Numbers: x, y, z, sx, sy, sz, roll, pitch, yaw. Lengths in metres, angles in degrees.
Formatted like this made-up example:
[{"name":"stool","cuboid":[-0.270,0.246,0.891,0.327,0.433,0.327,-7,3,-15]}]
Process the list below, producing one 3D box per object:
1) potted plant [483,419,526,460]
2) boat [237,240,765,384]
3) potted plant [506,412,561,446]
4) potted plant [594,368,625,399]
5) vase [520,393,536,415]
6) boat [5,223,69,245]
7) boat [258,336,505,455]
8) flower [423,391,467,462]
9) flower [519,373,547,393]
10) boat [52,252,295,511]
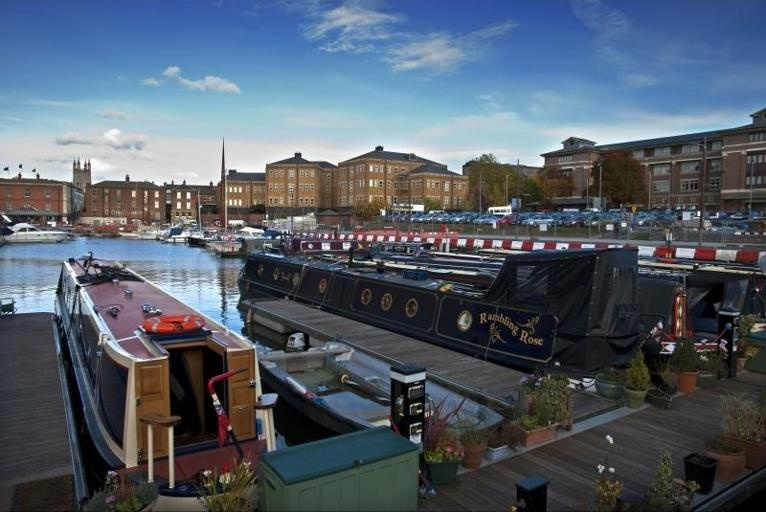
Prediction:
[{"name":"potted plant","cuboid":[2.340,3.575,11.493,0.499,0.252,0.795,12,18,43]},{"name":"boat","cuboid":[1.272,1.333,19.743,4.224,2.935,14.354,-4,8,-39]},{"name":"potted plant","cuboid":[2.982,3.464,11.758,0.772,0.263,0.538,-1,1,-33]},{"name":"potted plant","cuboid":[5.206,2.928,13.619,0.637,0.668,0.624,1,-5,-6]},{"name":"vase","cuboid":[3.007,3.050,12.143,0.275,0.405,0.160,1,5,14]},{"name":"boat","cuboid":[-44.310,-2.926,78.035,9.206,2.572,2.583,-4,13,-25]},{"name":"boat","cuboid":[-0.673,3.087,13.752,2.168,0.824,6.019,1,3,-24]},{"name":"flower","cuboid":[1.196,3.322,11.311,0.894,1.277,0.779,1,1,-7]},{"name":"flower","cuboid":[3.174,2.679,12.476,0.399,0.239,0.408,-3,2,-1]},{"name":"boat","cuboid":[-5.765,2.265,14.135,2.768,2.518,12.485,-3,7,-28]}]
